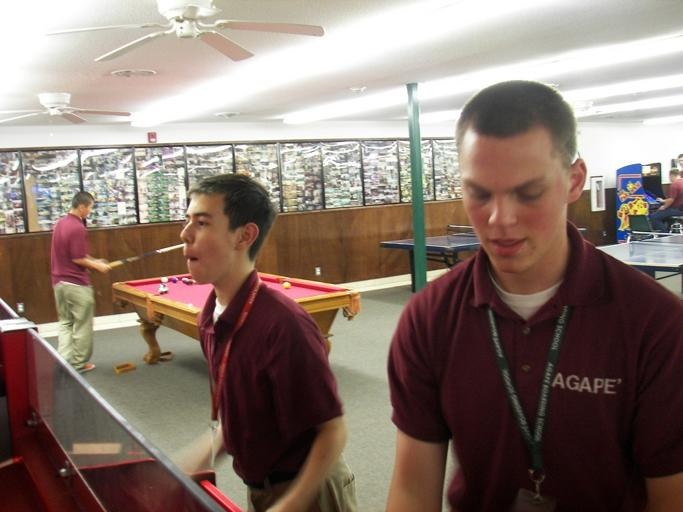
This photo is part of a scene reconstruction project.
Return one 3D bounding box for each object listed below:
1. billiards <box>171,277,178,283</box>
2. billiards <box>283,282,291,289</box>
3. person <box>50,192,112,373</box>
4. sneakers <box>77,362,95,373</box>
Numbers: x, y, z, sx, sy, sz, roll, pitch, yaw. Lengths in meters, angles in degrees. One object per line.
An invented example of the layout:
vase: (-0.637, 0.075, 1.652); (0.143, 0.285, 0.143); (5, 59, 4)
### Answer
billiards: (-2.169, 0.310, 6.685); (0.058, 0.071, 0.058); (-12, -20, 39)
billiards: (-0.624, 0.327, 5.797); (0.067, 0.064, 0.066); (1, 6, 18)
person: (-3.044, 0.311, 5.891); (0.594, 2.120, 0.635); (0, 11, -36)
sneakers: (-2.962, 1.283, 5.989); (0.159, 0.061, 0.067); (-10, 16, -19)
